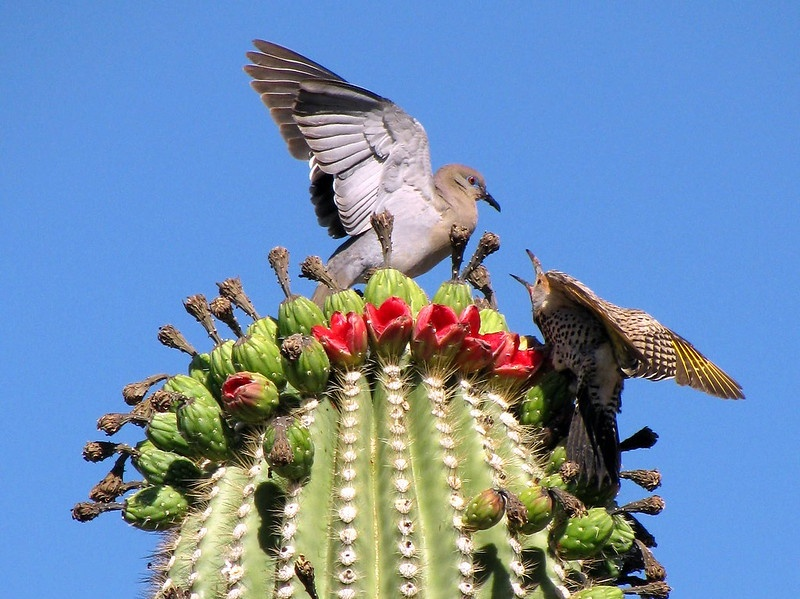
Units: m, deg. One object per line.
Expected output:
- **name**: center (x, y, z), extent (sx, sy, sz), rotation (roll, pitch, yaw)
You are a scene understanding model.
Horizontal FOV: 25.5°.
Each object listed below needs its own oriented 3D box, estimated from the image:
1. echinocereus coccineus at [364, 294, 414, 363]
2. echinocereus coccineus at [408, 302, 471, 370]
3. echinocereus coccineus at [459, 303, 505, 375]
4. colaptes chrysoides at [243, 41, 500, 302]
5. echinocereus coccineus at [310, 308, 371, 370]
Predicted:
- **echinocereus coccineus**: center (-0.075, 0.183, 9.822), extent (0.203, 0.214, 0.381), rotation (-2, -94, -20)
- **echinocereus coccineus**: center (0.176, 0.206, 9.838), extent (0.310, 0.324, 0.386), rotation (-4, -62, -26)
- **echinocereus coccineus**: center (0.427, 0.261, 9.979), extent (0.259, 0.416, 0.370), rotation (11, -20, 0)
- **colaptes chrysoides**: center (-0.213, -0.827, 12.826), extent (1.621, 1.643, 2.235), rotation (-17, -18, 19)
- **echinocereus coccineus**: center (-0.321, 0.262, 9.824), extent (0.297, 0.286, 0.365), rotation (-19, -83, -37)
